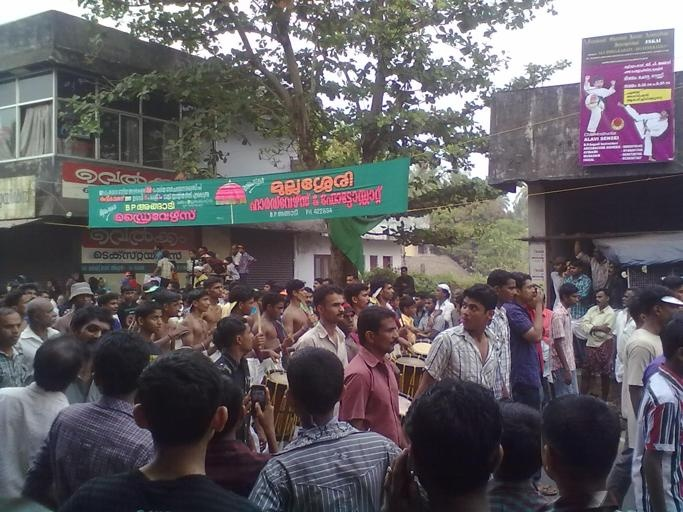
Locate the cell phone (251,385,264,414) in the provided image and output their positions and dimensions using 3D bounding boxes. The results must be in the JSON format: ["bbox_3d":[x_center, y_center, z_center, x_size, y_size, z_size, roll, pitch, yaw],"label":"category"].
[{"bbox_3d":[-0.609,1.024,4.563,0.109,0.191,0.091,0,-2,-10],"label":"cell phone"}]

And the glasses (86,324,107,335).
[{"bbox_3d":[-2.174,0.646,5.603,0.101,0.049,0.122,1,-35,-10],"label":"glasses"}]

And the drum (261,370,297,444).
[{"bbox_3d":[-0.627,1.538,6.498,0.301,0.632,0.839,0,-2,-13],"label":"drum"}]

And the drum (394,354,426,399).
[{"bbox_3d":[0.784,1.499,7.791,0.479,0.554,0.542,-1,-14,7],"label":"drum"}]

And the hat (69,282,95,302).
[{"bbox_3d":[-3.482,0.451,8.593,0.346,0.190,0.295,-2,-5,-36],"label":"hat"}]
